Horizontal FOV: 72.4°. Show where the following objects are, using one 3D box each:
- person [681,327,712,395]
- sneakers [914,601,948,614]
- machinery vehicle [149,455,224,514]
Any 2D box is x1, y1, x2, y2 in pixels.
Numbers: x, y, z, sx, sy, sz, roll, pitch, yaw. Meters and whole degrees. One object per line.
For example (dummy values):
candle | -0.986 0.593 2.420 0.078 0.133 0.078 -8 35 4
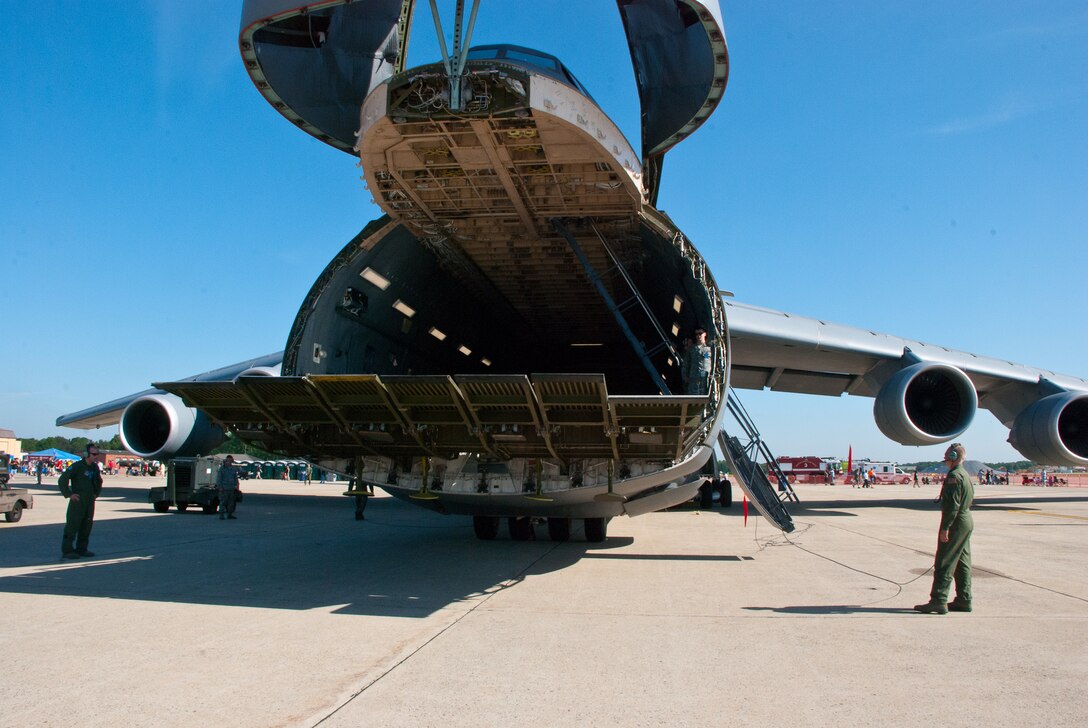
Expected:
person | 2.092 -0.045 10.006 0.371 0.915 0.502 -2 -6 12
sneakers | 4.414 2.747 8.444 0.399 0.145 0.134 1 -8 19
machinery vehicle | -8.956 3.033 19.248 1.399 1.074 2.075 0 -4 7
